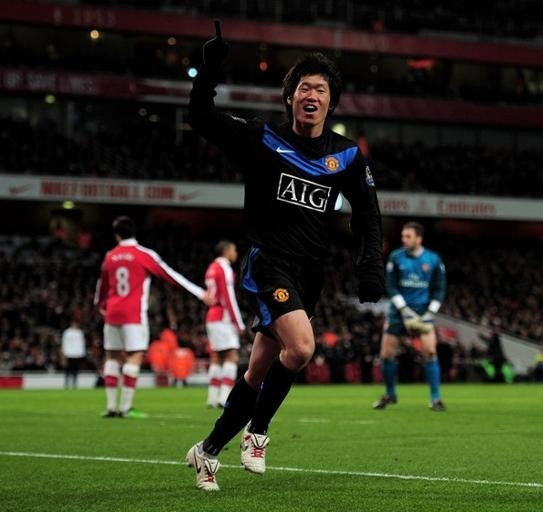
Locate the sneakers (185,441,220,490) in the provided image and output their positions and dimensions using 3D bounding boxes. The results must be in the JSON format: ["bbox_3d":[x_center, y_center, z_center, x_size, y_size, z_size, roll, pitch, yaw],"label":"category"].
[{"bbox_3d":[-0.344,1.083,4.930,0.101,0.130,0.295,15,34,-45],"label":"sneakers"}]

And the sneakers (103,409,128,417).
[{"bbox_3d":[-1.035,1.038,6.312,0.114,0.048,0.038,9,-15,0],"label":"sneakers"}]

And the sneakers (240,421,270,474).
[{"bbox_3d":[-0.117,0.995,5.002,0.107,0.136,0.296,19,15,-20],"label":"sneakers"}]

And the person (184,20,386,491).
[{"bbox_3d":[0.074,0.043,4.869,1.012,2.268,0.648,2,-3,-4],"label":"person"}]
